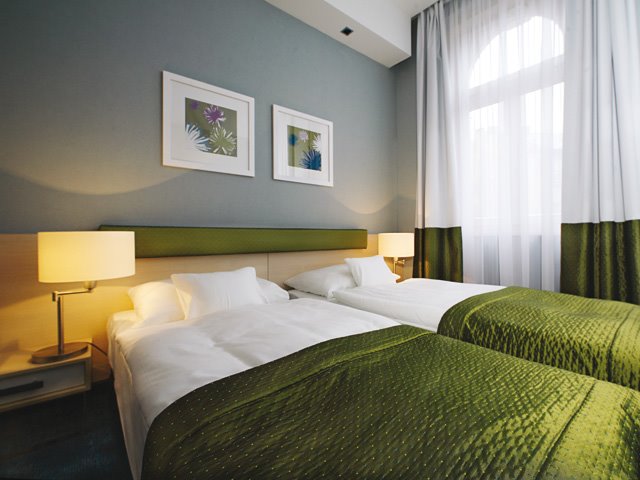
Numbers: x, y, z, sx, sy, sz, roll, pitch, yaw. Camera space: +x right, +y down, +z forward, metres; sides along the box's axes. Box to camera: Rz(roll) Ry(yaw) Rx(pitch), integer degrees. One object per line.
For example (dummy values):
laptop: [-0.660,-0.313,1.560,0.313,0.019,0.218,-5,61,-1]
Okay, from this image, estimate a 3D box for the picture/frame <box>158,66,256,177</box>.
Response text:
picture/frame: [-0.934,-0.938,3.338,0.865,0.872,0.037,2,-1,-42]

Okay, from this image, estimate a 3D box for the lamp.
lamp: [-1.596,0.350,2.819,0.556,0.919,0.523,3,11,-12]

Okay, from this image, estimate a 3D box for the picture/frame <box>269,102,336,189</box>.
picture/frame: [-0.191,-0.876,3.904,0.034,0.769,0.789,-4,-5,43]
